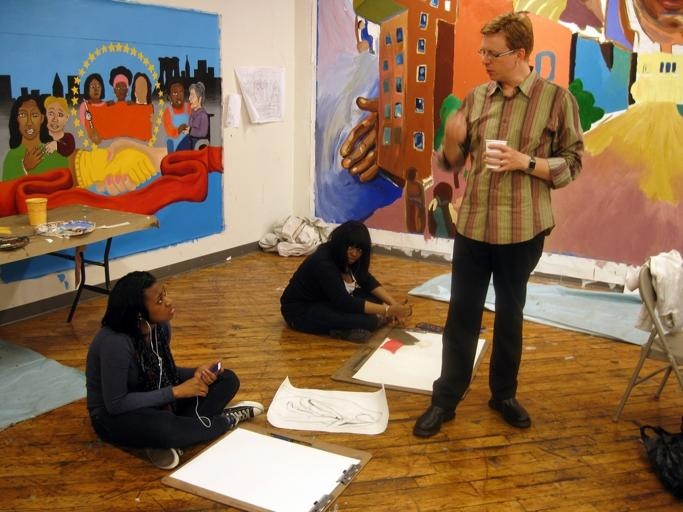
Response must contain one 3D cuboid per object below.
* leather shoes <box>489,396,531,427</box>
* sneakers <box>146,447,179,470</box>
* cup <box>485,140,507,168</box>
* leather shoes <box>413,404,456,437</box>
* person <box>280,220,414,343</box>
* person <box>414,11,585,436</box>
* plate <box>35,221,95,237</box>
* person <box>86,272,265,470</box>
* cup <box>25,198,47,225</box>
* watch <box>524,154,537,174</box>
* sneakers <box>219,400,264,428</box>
[{"bbox_3d":[0.991,0.901,3.073,0.109,0.121,0.300,-15,18,-22],"label":"leather shoes"},{"bbox_3d":[-0.944,1.048,2.675,0.201,0.081,0.076,18,51,28],"label":"sneakers"},{"bbox_3d":[0.743,-0.495,2.463,0.121,0.134,0.125,0,11,0],"label":"cup"},{"bbox_3d":[0.549,0.945,2.979,0.111,0.122,0.304,4,3,38],"label":"leather shoes"},{"bbox_3d":[0.051,0.187,4.216,1.106,0.930,0.786,9,13,16],"label":"person"},{"bbox_3d":[0.846,-0.098,2.737,0.765,2.257,0.465,4,13,17],"label":"person"},{"bbox_3d":[-2.055,-0.199,3.754,0.374,0.074,0.380,10,16,37],"label":"plate"},{"bbox_3d":[-0.903,0.574,2.756,0.909,0.944,0.766,-3,10,-18],"label":"person"},{"bbox_3d":[-2.290,-0.328,3.784,0.123,0.199,0.271,-8,15,-31],"label":"cup"},{"bbox_3d":[0.949,-0.453,2.536,0.052,0.084,0.078,6,27,6],"label":"watch"},{"bbox_3d":[-0.589,0.912,2.960,0.238,0.089,0.093,-11,18,5],"label":"sneakers"}]
